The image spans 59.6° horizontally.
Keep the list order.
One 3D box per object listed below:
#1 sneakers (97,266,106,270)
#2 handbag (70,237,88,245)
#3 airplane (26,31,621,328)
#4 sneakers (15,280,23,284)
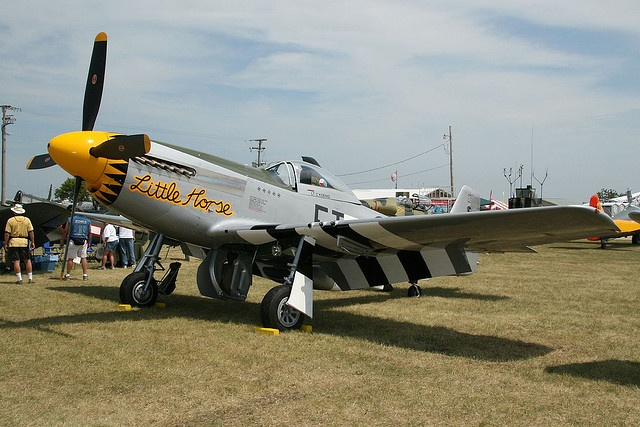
[{"bbox_3d":[-5.731,1.443,14.713,0.081,0.076,0.224,2,-9,-40],"label":"sneakers"},{"bbox_3d":[-5.582,0.638,12.890,0.357,0.157,0.414,5,-16,-18],"label":"handbag"},{"bbox_3d":[-0.075,0.182,8.645,6.137,2.222,6.754,10,-7,-42],"label":"airplane"},{"bbox_3d":[-6.312,1.451,11.769,0.073,0.072,0.198,2,-11,-32],"label":"sneakers"}]
